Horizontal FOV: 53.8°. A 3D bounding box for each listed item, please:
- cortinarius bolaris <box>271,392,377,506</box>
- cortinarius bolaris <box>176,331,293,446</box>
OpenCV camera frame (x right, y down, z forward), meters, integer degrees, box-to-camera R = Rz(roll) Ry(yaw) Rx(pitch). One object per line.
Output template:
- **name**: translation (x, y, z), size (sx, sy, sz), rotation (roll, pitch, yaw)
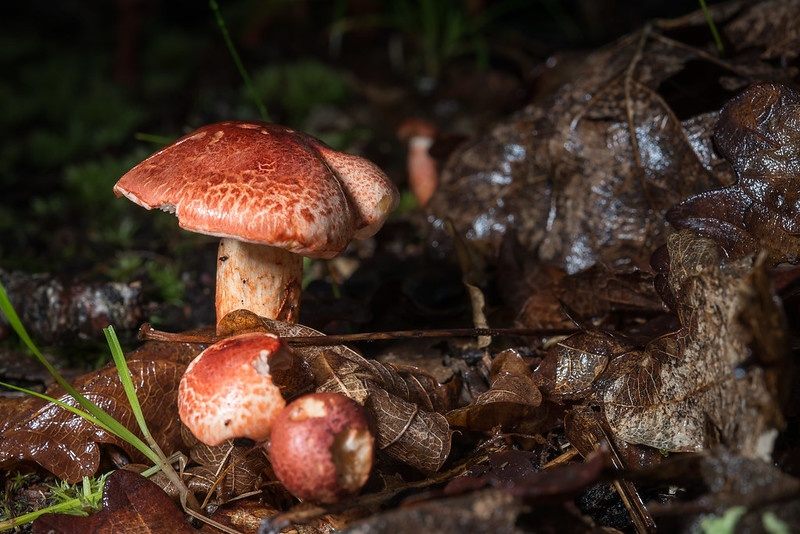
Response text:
- **cortinarius bolaris**: translation (-0.260, 0.617, 2.680), size (0.349, 0.209, 0.312), rotation (-7, 48, 2)
- **cortinarius bolaris**: translation (-0.577, 0.441, 2.771), size (0.389, 0.207, 0.392), rotation (-22, 52, 5)
